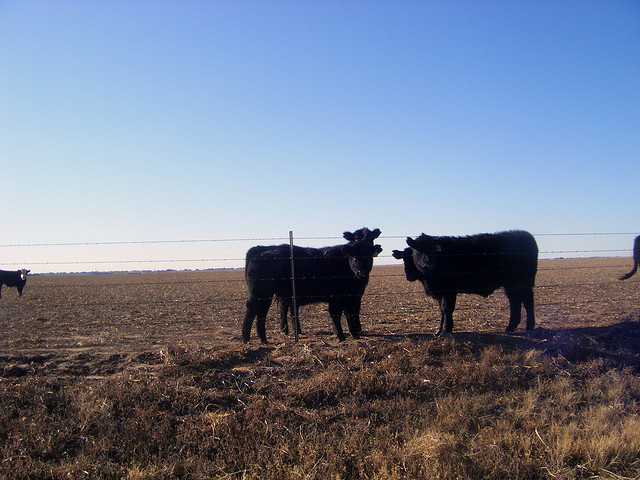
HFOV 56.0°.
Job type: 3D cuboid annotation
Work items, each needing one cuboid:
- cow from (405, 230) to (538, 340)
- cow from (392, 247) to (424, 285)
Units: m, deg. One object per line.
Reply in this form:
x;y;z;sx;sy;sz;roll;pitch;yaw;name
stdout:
4.261;1.078;16.154;3.432;2.738;1.170;2;-1;-17;cow
2.439;0.590;16.646;0.574;0.739;1.353;-1;15;12;cow
